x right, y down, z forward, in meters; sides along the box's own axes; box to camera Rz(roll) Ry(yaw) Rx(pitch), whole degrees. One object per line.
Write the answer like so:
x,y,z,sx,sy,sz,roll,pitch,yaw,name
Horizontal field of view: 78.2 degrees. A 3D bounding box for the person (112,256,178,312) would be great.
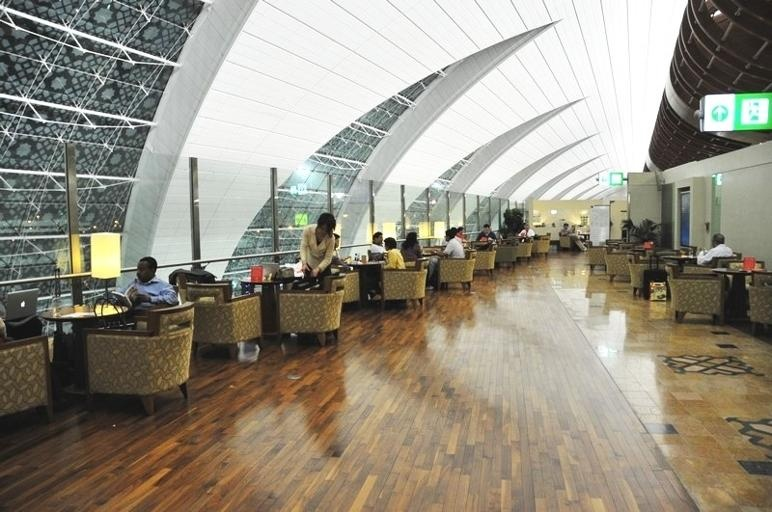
-3.351,0.432,6.538,0.929,0.802,0.550,6,7,23,person
